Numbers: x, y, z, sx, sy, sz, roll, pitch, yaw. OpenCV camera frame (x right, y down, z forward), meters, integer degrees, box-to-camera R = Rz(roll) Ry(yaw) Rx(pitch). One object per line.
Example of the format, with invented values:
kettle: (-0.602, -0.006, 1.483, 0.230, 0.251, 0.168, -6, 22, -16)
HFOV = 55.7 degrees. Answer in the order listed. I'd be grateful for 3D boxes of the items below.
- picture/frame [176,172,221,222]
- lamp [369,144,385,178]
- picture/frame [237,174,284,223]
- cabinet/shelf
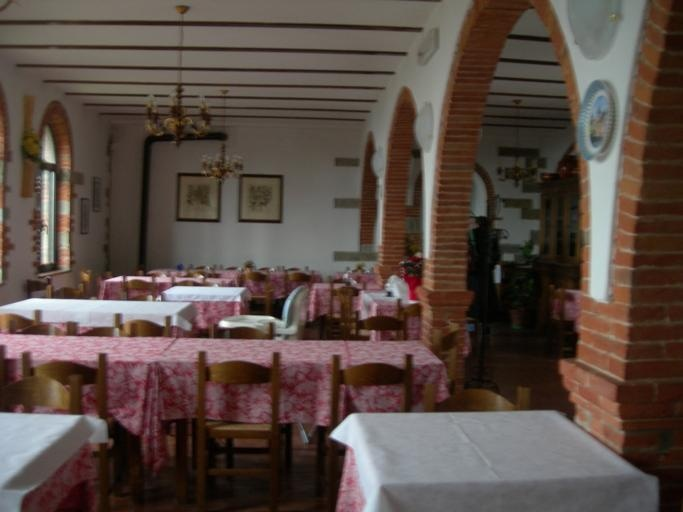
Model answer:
picture/frame: (-2.708, -1.157, 12.346, 0.905, 0.981, 0.076, 1, 1, -1)
lamp: (0.528, -1.362, 9.491, 0.098, 0.403, 0.293, 5, 17, 12)
picture/frame: (-1.584, -1.120, 12.502, 0.920, 0.897, 0.217, -3, 7, -8)
cabinet/shelf: (3.106, 0.013, 9.363, 0.643, 2.630, 2.762, 0, 0, 17)
